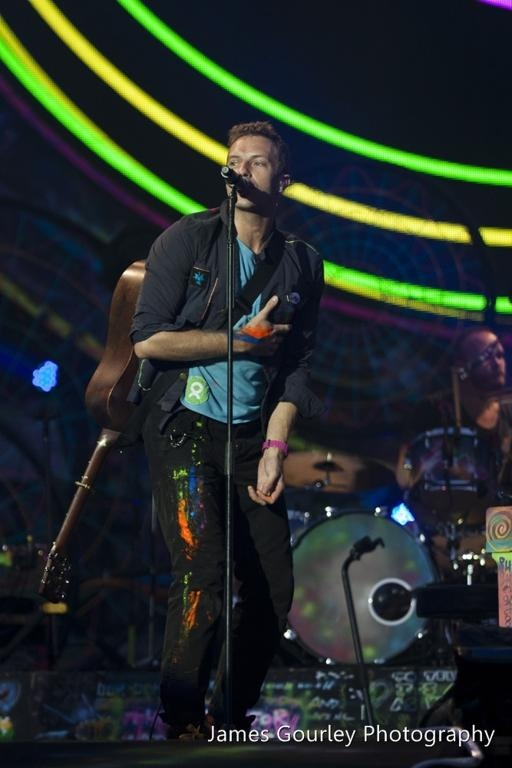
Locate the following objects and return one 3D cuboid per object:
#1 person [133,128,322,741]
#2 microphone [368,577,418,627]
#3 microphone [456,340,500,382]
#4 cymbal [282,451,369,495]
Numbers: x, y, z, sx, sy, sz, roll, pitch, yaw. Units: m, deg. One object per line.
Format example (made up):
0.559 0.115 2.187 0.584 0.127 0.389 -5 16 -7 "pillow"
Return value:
-0.117 0.095 3.050 0.576 2.076 0.727 -10 -24 25 "person"
0.703 1.118 4.581 0.240 0.240 0.102 -6 -22 16 "microphone"
1.344 -0.134 5.337 0.266 0.061 0.194 -33 2 -25 "microphone"
0.382 0.495 5.060 0.334 0.162 0.284 5 0 5 "cymbal"
